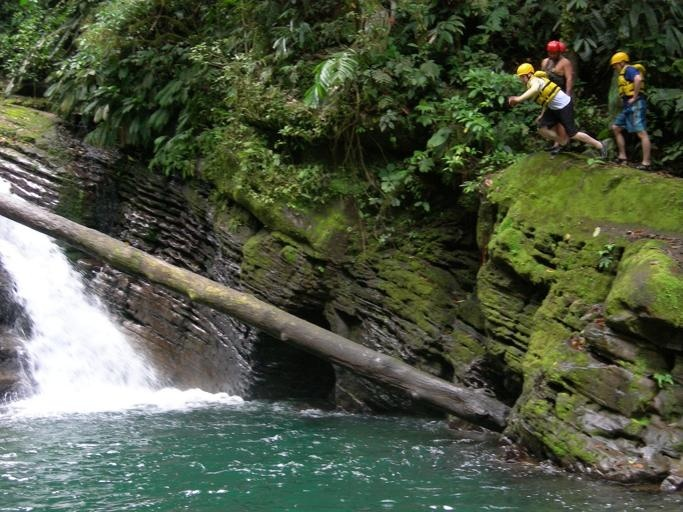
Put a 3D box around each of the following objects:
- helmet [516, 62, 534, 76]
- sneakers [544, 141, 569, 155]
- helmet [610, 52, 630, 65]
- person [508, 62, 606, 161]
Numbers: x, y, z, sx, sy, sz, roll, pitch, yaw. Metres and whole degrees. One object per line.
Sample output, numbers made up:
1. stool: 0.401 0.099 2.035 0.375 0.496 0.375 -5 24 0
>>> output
1. helmet: 2.742 -2.795 9.461 0.194 0.181 0.189 0 1 19
2. sneakers: 3.257 -1.648 9.706 0.170 0.146 0.401 -6 8 1
3. helmet: 4.215 -3.021 9.580 0.369 0.131 0.213 -4 12 0
4. person: 3.224 -2.234 9.558 1.249 1.309 0.825 0 1 -5
